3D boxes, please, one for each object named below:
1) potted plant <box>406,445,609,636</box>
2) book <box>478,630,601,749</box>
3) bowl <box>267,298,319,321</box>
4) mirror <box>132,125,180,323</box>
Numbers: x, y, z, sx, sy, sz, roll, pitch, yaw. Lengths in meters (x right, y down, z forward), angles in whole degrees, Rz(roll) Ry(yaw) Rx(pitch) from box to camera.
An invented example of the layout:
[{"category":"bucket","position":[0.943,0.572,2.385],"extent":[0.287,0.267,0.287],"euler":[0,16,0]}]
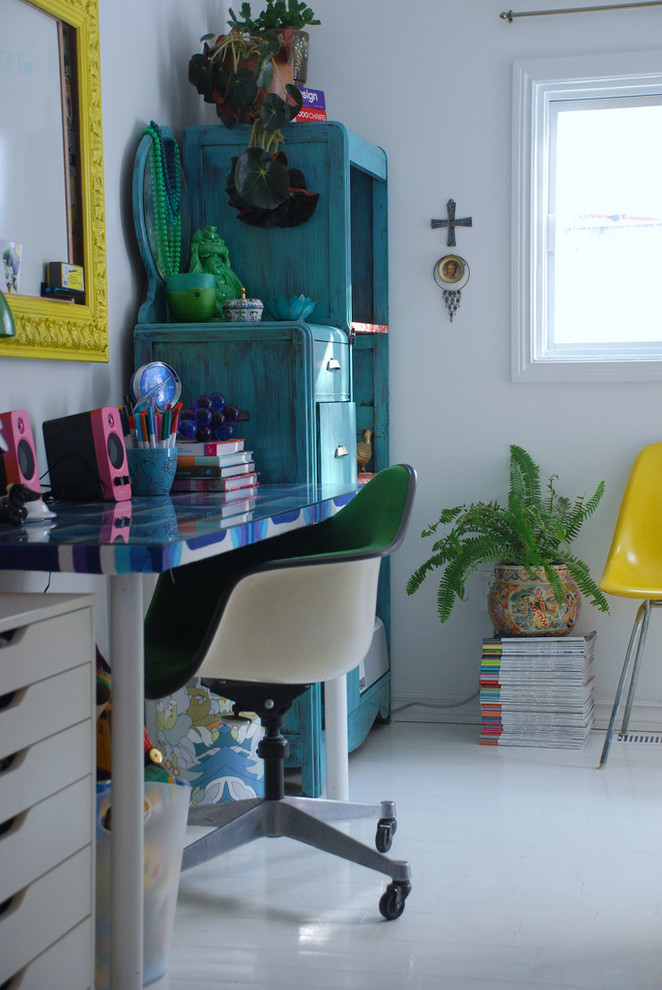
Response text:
[{"category":"potted plant","position":[0.592,0.142,2.939],"extent":[0.640,0.549,0.603],"euler":[-1,-2,31]},{"category":"book","position":[0.634,0.605,2.851],"extent":[0.276,0.230,0.370],"euler":[0,2,8]},{"category":"bowl","position":[-0.094,-0.478,2.416],"extent":[0.086,0.044,0.085],"euler":[-1,-10,0]},{"category":"mirror","position":[-0.441,-0.681,2.361],"extent":[0.081,0.513,0.311],"euler":[-1,-1,10]}]
